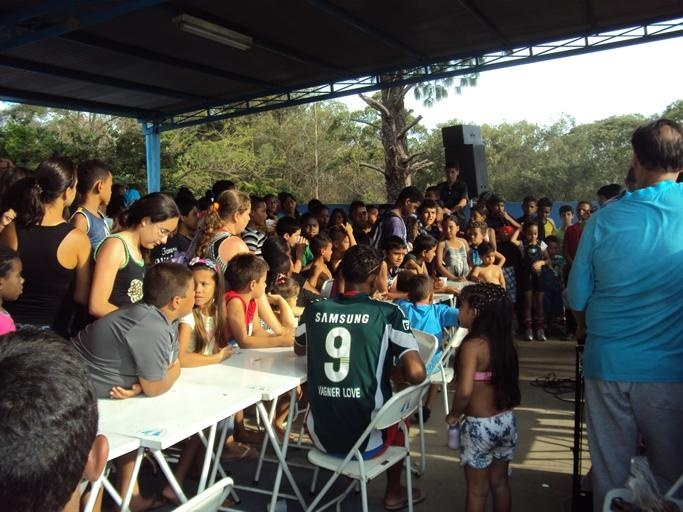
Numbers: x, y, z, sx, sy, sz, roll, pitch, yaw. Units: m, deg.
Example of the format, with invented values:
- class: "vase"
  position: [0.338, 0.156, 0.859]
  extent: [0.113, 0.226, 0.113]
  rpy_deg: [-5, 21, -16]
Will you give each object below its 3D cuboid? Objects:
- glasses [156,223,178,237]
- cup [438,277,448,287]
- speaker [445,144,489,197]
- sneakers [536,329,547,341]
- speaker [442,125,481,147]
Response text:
- class: "glasses"
  position: [-1.119, -0.170, 3.377]
  extent: [0.148, 0.048, 0.153]
  rpy_deg: [5, 10, 26]
- class: "cup"
  position: [1.150, 0.295, 5.975]
  extent: [0.094, 0.115, 0.119]
  rpy_deg: [-2, 0, 1]
- class: "speaker"
  position: [2.698, -1.753, 11.040]
  extent: [0.561, 0.911, 0.608]
  rpy_deg: [-23, 1, -4]
- class: "sneakers"
  position: [2.639, 1.047, 6.984]
  extent: [0.087, 0.109, 0.250]
  rpy_deg: [-6, -16, 13]
- class: "speaker"
  position: [2.502, -2.540, 11.149]
  extent: [0.586, 0.397, 0.623]
  rpy_deg: [-3, -2, 28]
